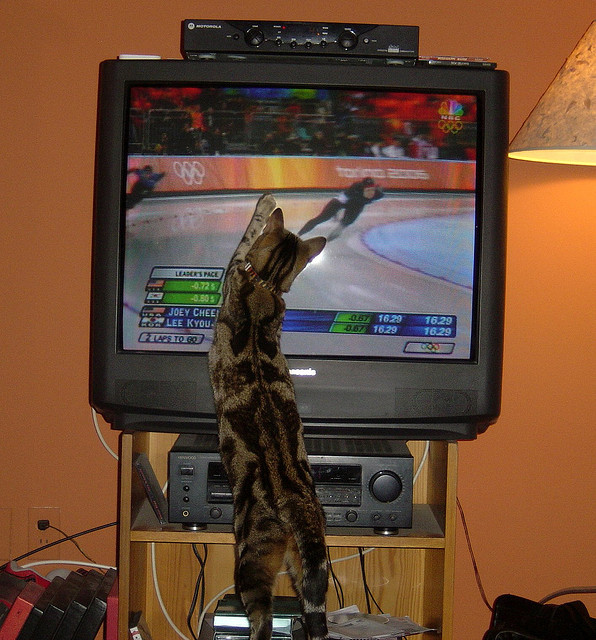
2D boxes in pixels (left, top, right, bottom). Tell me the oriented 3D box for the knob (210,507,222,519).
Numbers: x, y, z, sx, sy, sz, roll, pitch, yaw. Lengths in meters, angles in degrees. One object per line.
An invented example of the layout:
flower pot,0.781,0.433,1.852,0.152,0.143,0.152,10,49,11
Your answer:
knob,-0.212,0.500,1.872,0.029,0.021,0.024,-11,-46,10

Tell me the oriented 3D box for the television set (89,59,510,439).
television set,-0.005,-0.203,1.923,1.184,0.582,0.855,2,-86,2

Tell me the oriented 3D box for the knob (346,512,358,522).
knob,0.140,0.514,1.885,0.024,0.019,0.019,0,-46,-2

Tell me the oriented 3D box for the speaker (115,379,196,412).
speaker,-0.379,0.202,1.929,0.211,0.066,0.055,0,-46,-2

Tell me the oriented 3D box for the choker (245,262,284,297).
choker,-0.086,-0.107,1.916,0.020,0.085,0.085,-50,-14,0

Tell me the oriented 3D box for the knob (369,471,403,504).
knob,0.229,0.435,1.886,0.080,0.063,0.062,11,-47,-12
